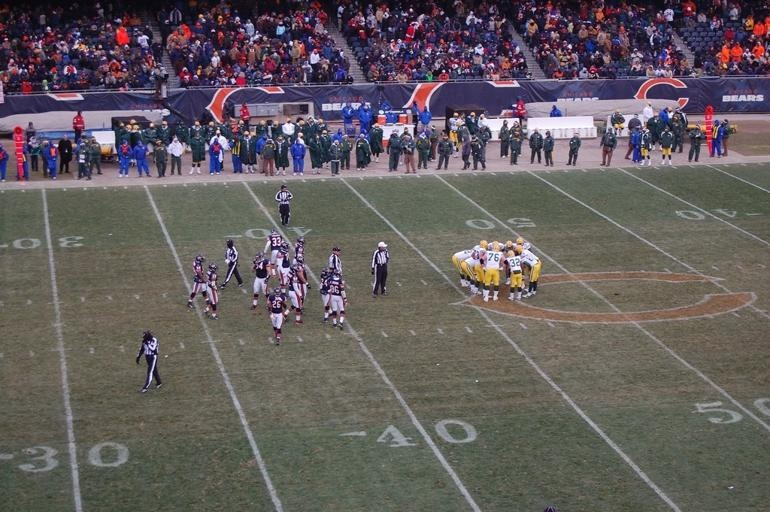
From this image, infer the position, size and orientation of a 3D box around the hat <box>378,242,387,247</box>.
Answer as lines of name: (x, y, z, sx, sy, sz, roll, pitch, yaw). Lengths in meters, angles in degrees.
hat: (-0.059, -0.365, 41.330, 0.198, 0.107, 0.258, -6, 1, -25)
